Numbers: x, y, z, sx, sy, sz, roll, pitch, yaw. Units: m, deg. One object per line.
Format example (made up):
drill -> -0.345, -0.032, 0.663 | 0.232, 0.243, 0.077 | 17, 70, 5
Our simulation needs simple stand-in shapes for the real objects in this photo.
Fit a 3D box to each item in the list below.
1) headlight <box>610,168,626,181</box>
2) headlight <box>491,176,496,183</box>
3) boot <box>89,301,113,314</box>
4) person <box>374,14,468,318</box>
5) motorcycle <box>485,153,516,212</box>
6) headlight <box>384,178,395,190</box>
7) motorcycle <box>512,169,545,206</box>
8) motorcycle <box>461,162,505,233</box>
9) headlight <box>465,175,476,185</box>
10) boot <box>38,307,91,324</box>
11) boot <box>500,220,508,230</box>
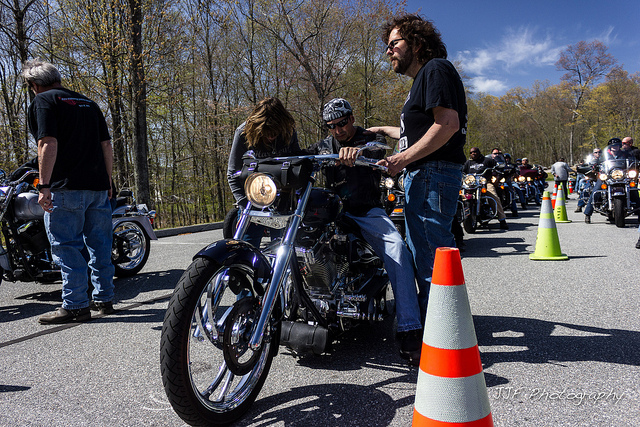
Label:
headlight -> 7.256, -0.966, 11.904 | 0.315, 0.308, 0.118 | 2, 4, 33
headlight -> 4.786, -0.966, 13.421 | 0.127, 0.119, 0.030 | 2, -2, -22
boot -> -2.842, 1.185, 6.342 | 0.390, 0.157, 0.134 | 8, 4, 27
person -> 1.003, -0.494, 4.829 | 0.856, 2.991, 0.953 | 0, 4, 15
motorcycle -> 5.407, -0.803, 14.973 | 1.240, 1.417, 2.188 | -13, -7, 32
headlight -> 1.323, -0.564, 9.123 | 0.242, 0.243, 0.069 | 4, -17, -26
motorcycle -> 8.366, -1.007, 19.578 | 1.168, 1.316, 2.037 | -10, -14, 36
motorcycle -> 3.878, -0.338, 11.807 | 0.761, 1.497, 1.731 | 1, 4, 20
headlight -> 3.519, -0.793, 11.397 | 0.209, 0.213, 0.057 | 3, -5, 16
boot -> -3.080, 1.209, 5.951 | 0.573, 0.249, 0.223 | 3, -6, -13
boot -> 4.565, 0.252, 12.120 | 0.177, 0.233, 0.420 | 1, 3, 21
